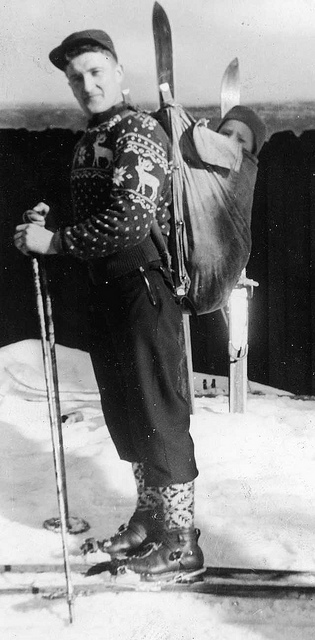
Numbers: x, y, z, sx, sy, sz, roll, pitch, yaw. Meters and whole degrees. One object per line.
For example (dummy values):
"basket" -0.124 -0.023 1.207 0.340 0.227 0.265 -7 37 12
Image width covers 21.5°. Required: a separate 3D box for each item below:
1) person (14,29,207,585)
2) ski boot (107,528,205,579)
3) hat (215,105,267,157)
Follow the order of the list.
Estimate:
"person" -0.122 -0.019 2.195 0.390 1.503 0.318 -2 6 24
"ski boot" 0.002 0.639 2.278 0.267 0.127 0.092 -5 -15 9
"hat" 0.279 -0.601 2.525 0.139 0.170 0.131 28 29 7
